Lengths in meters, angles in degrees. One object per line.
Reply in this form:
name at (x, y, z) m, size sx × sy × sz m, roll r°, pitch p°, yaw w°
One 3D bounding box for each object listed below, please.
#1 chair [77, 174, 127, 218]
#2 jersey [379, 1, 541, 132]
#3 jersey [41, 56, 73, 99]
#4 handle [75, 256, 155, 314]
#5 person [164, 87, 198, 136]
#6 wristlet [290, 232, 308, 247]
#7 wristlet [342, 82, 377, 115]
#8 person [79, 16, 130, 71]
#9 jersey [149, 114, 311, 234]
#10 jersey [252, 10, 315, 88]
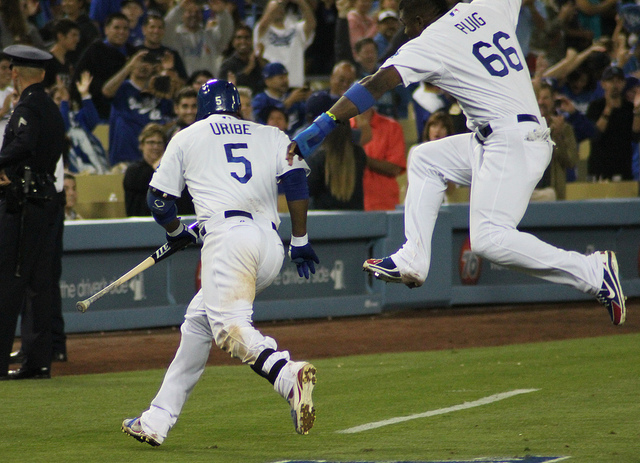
chair at (-2.862, -0.498, 20.292) m, size 0.482 × 0.680 × 0.915 m, roll 0°, pitch 2°, yaw 27°
jersey at (1.455, -1.800, 16.181) m, size 1.046 × 1.669 × 1.037 m, roll -16°, pitch 23°, yaw -38°
jersey at (-3.496, -2.053, 20.791) m, size 0.456 × 0.574 × 0.334 m, roll -8°, pitch 14°, yaw -29°
handle at (-2.062, 0.461, 16.318) m, size 1.140 × 0.205 × 0.233 m, roll -34°, pitch 31°, yaw -10°
person at (-1.844, -1.632, 20.837) m, size 0.547 × 0.732 × 0.734 m, roll -1°, pitch 8°, yaw -5°
wristlet at (-0.235, 0.048, 15.933) m, size 0.167 × 0.123 × 0.208 m, roll -1°, pitch 12°, yaw 2°
wristlet at (0.397, -1.368, 15.839) m, size 0.227 × 0.298 × 0.294 m, roll -43°, pitch 43°, yaw -5°
person at (-2.954, -2.561, 21.134) m, size 0.229 × 0.692 × 0.784 m, roll 8°, pitch 15°, yaw 37°
jersey at (-0.943, -0.678, 15.707) m, size 1.069 × 1.291 × 1.250 m, roll -10°, pitch 20°, yaw -37°
jersey at (-0.622, -2.752, 23.821) m, size 0.563 × 1.037 × 1.204 m, roll 7°, pitch 14°, yaw 32°
